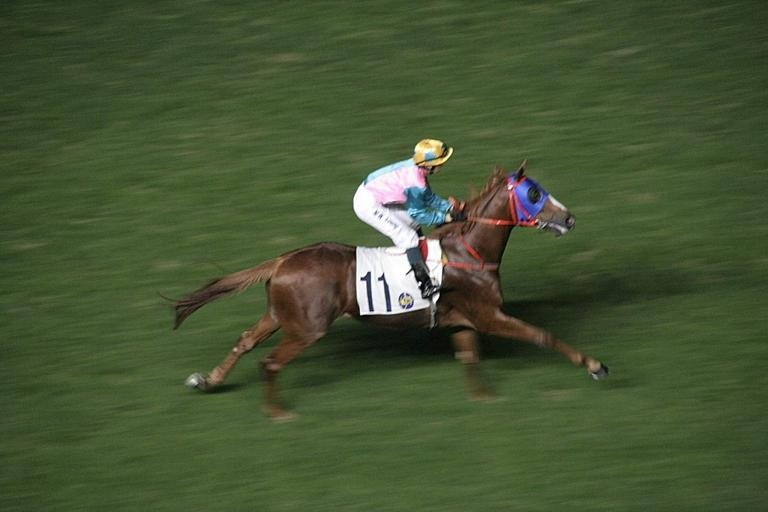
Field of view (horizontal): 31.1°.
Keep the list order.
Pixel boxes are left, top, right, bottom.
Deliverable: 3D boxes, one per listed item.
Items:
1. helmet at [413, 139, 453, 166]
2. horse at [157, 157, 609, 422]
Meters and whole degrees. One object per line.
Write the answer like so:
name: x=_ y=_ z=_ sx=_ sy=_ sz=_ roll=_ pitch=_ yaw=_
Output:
helmet: x=0.432 y=-0.878 z=11.766 sx=0.369 sy=0.128 sz=0.210 roll=-3 pitch=44 yaw=24
horse: x=0.197 y=0.345 z=12.445 sx=4.935 sy=0.977 sz=1.951 roll=-8 pitch=99 yaw=39
